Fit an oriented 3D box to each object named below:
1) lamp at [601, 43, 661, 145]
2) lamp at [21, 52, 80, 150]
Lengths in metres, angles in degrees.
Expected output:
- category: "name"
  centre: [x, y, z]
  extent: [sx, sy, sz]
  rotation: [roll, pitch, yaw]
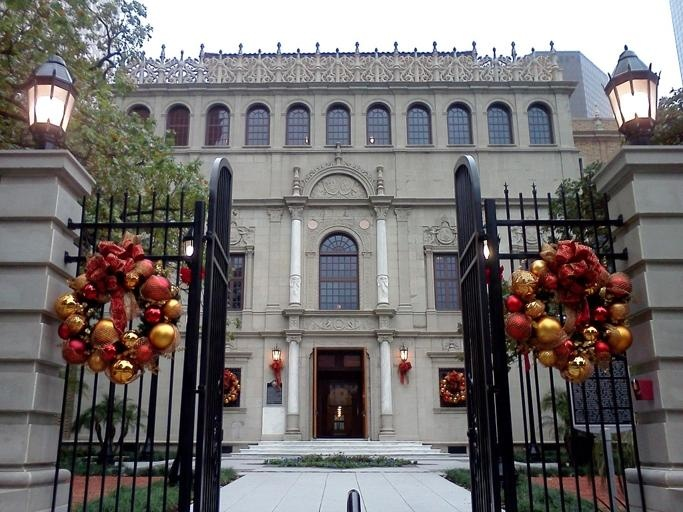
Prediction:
- category: "lamp"
  centre: [3.668, -2.083, 6.697]
  extent: [0.493, 1.318, 0.484]
  rotation: [-5, -5, -2]
- category: "lamp"
  centre: [-3.613, -1.946, 6.625]
  extent: [0.591, 1.348, 0.397]
  rotation: [-3, -15, 4]
